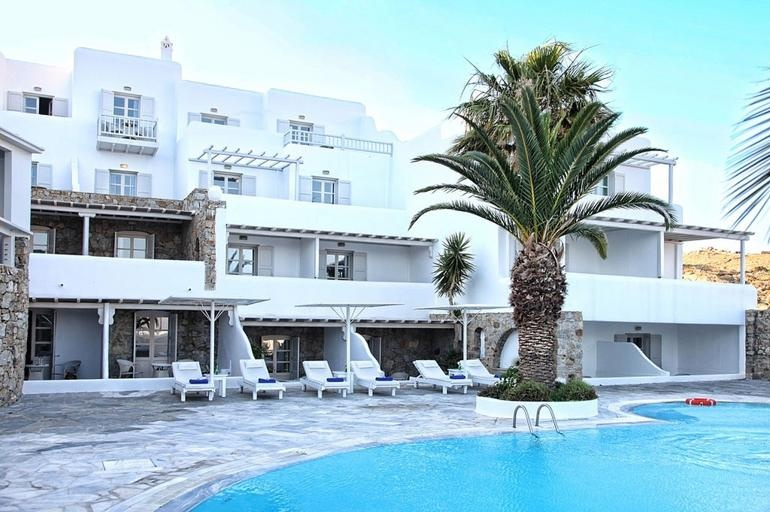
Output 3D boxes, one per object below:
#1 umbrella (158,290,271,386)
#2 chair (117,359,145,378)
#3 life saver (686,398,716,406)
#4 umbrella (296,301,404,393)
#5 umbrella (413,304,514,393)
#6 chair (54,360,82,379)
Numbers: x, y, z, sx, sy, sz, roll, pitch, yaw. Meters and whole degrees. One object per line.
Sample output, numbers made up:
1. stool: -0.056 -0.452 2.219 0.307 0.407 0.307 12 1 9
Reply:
1. umbrella: -6.049 1.821 25.337 3.281 2.786 3.318 0 -2 -21
2. chair: -9.757 4.306 27.805 0.887 1.084 0.794 0 -2 -7
3. life saver: 10.313 4.701 23.660 1.008 0.232 0.737 -2 -8 2
4. umbrella: -1.218 3.121 26.926 3.485 3.869 3.342 2 -5 -28
5. umbrella: 3.135 3.463 27.820 2.918 3.173 3.338 4 -9 -17
6. chair: -11.685 4.194 26.934 0.768 0.905 0.726 -4 -12 28
